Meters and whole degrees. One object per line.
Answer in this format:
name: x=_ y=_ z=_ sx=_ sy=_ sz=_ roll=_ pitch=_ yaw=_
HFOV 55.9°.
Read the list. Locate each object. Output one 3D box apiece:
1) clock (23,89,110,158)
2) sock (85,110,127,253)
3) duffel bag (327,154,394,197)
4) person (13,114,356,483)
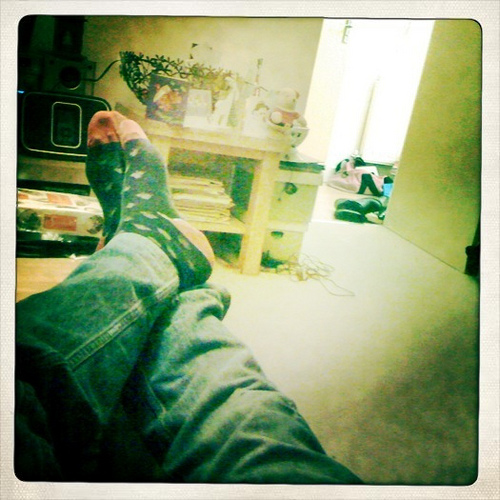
clock: x=-0.373 y=-0.255 z=0.967 sx=0.196 sy=0.123 sz=0.021 roll=10 pitch=16 yaw=10
sock: x=-0.299 y=-0.117 z=1.043 sx=0.093 sy=0.374 sz=0.092 roll=-1 pitch=13 yaw=6
duffel bag: x=0.249 y=-0.165 z=1.040 sx=0.149 sy=0.084 sz=0.017 roll=6 pitch=21 yaw=-18
person: x=-0.334 y=0.109 z=1.209 sx=0.640 sy=0.801 sz=0.286 roll=-4 pitch=-8 yaw=-23
